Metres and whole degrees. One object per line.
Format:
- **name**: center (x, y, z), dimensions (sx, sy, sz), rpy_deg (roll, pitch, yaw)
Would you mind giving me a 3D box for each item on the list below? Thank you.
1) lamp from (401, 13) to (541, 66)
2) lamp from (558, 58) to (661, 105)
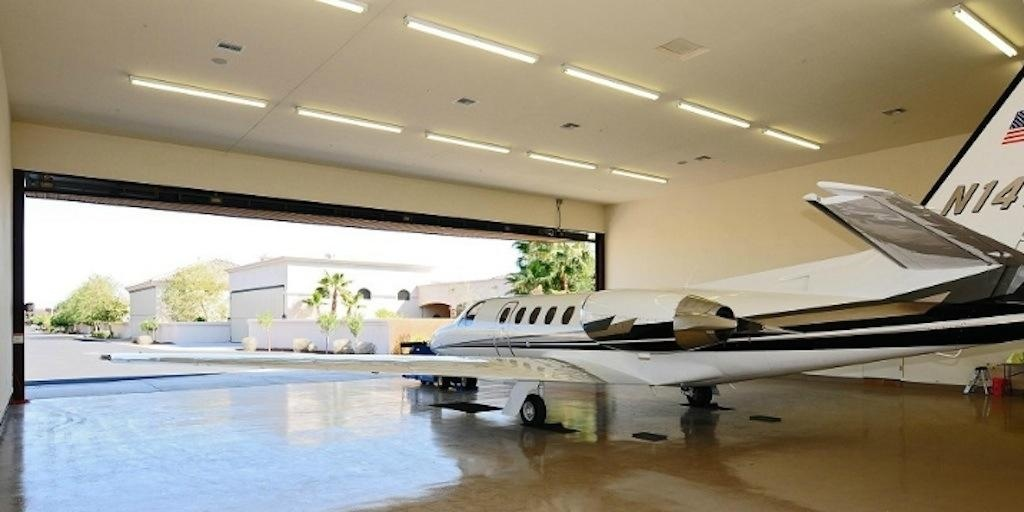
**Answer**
- **lamp**: center (-0.870, -5.089, 12.427), dimensions (3.317, 0.287, 0.478), rpy_deg (14, -31, -20)
- **lamp**: center (2.401, -4.516, 13.767), dimensions (2.889, 0.236, 0.397), rpy_deg (14, -37, -20)
